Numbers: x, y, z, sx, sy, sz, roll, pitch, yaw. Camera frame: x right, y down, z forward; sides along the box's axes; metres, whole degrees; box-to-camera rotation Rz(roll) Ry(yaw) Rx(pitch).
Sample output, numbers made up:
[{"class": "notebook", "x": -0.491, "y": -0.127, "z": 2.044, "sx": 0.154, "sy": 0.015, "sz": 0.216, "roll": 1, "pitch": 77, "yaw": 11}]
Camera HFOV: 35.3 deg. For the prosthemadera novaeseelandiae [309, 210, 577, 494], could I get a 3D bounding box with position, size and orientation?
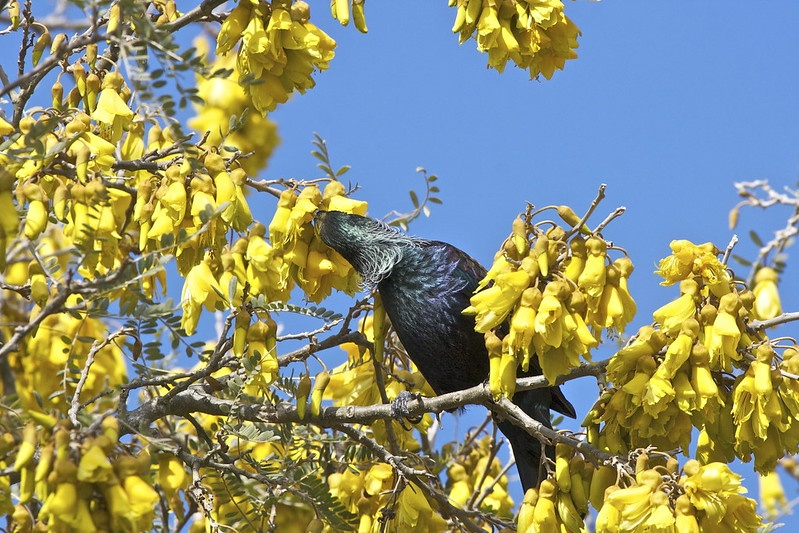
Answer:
[{"class": "prosthemadera novaeseelandiae", "x": 0.246, "y": 0.275, "z": 6.179, "sx": 1.362, "sy": 0.529, "sz": 1.232, "roll": 5, "pitch": -62, "yaw": -3}]
